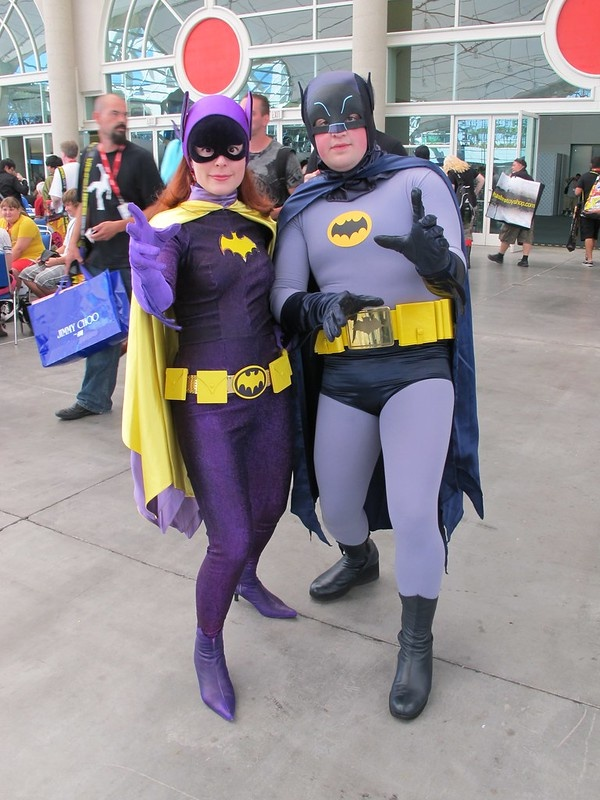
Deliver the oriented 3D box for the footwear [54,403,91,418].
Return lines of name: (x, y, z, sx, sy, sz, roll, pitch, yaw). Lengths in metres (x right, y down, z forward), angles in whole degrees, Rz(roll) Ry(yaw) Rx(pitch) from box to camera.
footwear: (-1.460, 0.075, 4.160, 0.226, 0.084, 0.084, 0, 4, -43)

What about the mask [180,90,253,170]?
mask: (-0.211, -0.688, 1.682, 0.168, 0.145, 0.201, -3, 1, -5)

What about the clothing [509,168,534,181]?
clothing: (3.916, -3.910, 11.352, 0.374, 0.166, 0.256, -1, 9, -12)

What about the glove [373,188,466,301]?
glove: (0.319, -0.356, 1.563, 0.150, 0.270, 0.305, 9, 16, 33)
